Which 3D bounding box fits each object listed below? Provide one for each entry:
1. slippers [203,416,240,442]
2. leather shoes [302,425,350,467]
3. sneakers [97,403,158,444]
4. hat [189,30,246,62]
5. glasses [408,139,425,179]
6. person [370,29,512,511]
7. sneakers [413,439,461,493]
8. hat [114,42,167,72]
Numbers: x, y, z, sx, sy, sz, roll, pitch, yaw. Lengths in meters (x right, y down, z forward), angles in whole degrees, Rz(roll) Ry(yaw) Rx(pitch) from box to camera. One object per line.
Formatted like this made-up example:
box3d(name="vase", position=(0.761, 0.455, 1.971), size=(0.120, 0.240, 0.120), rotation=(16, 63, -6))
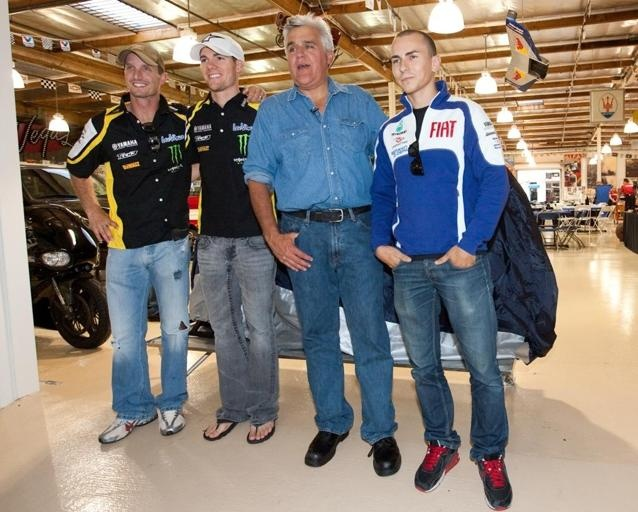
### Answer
box3d(name="slippers", position=(-0.544, 0.967, 2.656), size=(0.066, 0.082, 0.215), rotation=(2, 0, 28))
box3d(name="leather shoes", position=(0.019, 0.955, 2.388), size=(0.078, 0.097, 0.233), rotation=(7, 11, 26))
box3d(name="sneakers", position=(-1.089, 0.949, 2.665), size=(0.091, 0.106, 0.274), rotation=(-5, 4, 28))
box3d(name="hat", position=(-0.525, -1.092, 2.511), size=(0.165, 0.115, 0.222), rotation=(8, -8, 36))
box3d(name="glasses", position=(0.424, -0.423, 2.053), size=(0.066, 0.151, 0.033), rotation=(2, 9, 22))
box3d(name="person", position=(0.527, 0.017, 2.100), size=(0.670, 2.009, 0.424), rotation=(2, 9, 21))
box3d(name="sneakers", position=(0.538, 0.934, 2.183), size=(0.106, 0.137, 0.296), rotation=(3, 15, 37))
box3d(name="hat", position=(-0.967, -1.079, 2.562), size=(0.234, 0.156, 0.218), rotation=(-4, 9, -20))
